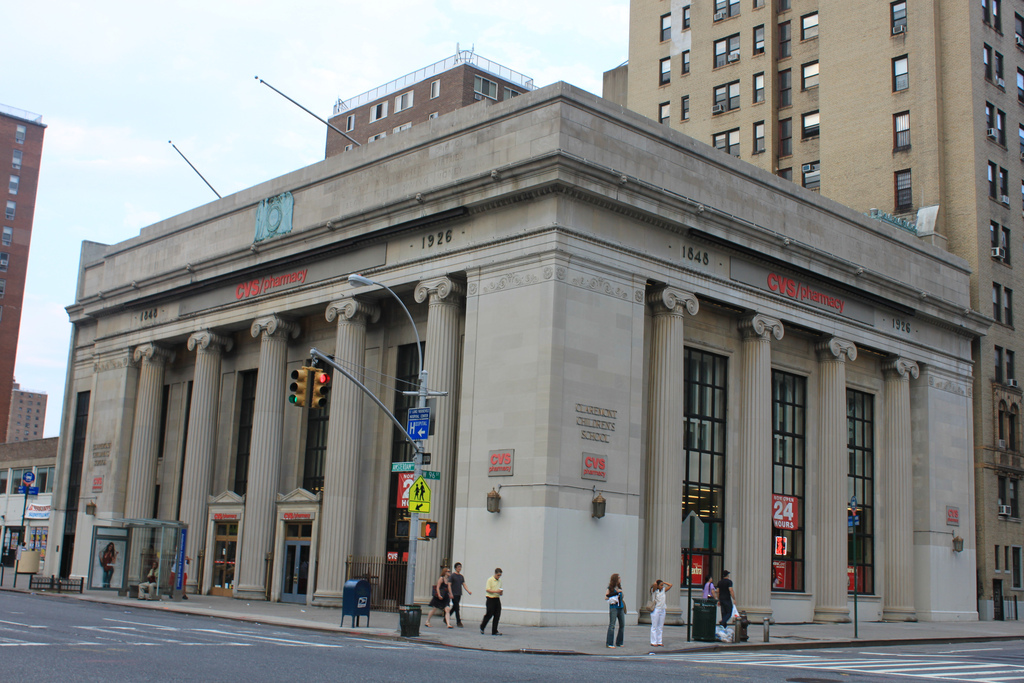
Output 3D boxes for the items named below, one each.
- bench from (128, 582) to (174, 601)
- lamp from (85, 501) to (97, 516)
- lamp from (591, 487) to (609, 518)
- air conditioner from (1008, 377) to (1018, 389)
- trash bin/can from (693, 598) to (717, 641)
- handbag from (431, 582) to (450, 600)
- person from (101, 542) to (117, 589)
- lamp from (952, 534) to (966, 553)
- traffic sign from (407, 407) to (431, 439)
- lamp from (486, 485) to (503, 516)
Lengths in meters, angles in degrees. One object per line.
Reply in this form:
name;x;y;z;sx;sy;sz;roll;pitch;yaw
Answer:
bench;-19.303;13.349;58.822;2.717;0.940;1.362;-9;-21;28
lamp;-26.747;10.682;70.459;0.410;0.906;1.275;14;-22;-34
lamp;4.020;7.536;51.131;0.831;1.401;0.442;8;-20;-21
air conditioner;32.935;2.781;72.936;0.909;0.604;0.491;11;-18;-39
trash bin/can;8.057;11.725;46.573;0.998;1.730;0.913;-6;-19;19
handbag;-3.007;10.760;47.677;0.703;0.744;0.640;3;-18;-7
person;-23.510;13.074;64.548;0.823;2.553;0.624;7;-19;-18
lamp;26.523;12.024;65.972;0.931;1.129;0.411;14;-23;-35
traffic sign;-3.937;3.486;46.485;0.845;1.469;1.306;4;-19;-8
lamp;-0.861;7.315;51.142;0.718;1.356;0.567;-8;-20;25
